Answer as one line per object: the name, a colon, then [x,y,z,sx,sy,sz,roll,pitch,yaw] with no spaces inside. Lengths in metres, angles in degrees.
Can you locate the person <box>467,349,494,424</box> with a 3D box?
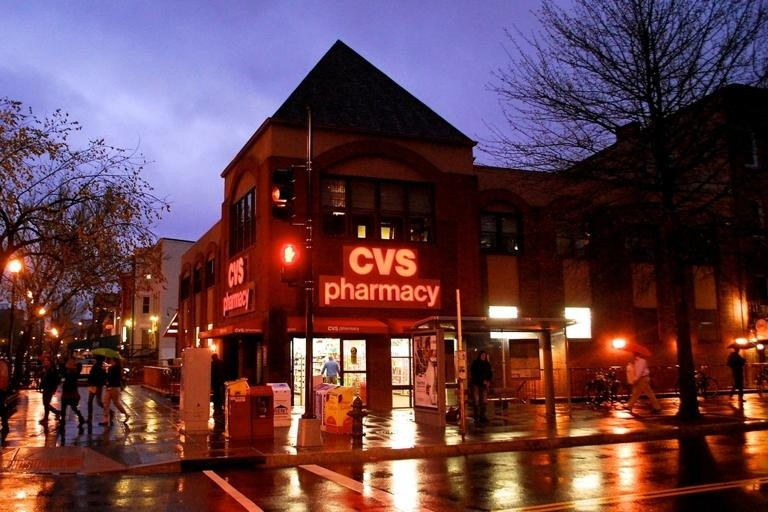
person: [3.677,4.974,25.173,0.835,2.750,1.549,-2,-13,7]

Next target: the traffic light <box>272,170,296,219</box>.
traffic light: [-3.110,-1.885,20.267,0.651,1.656,1.066,2,-14,-11]

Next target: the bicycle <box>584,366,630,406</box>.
bicycle: [10.505,6.255,31.218,2.647,1.591,1.371,11,-17,-38]

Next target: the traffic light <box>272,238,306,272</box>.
traffic light: [-3.363,0.014,22.893,1.247,1.292,1.296,-8,-10,40]

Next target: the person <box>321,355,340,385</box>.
person: [-2.374,4.917,28.798,0.784,1.290,1.148,0,-13,-4]
